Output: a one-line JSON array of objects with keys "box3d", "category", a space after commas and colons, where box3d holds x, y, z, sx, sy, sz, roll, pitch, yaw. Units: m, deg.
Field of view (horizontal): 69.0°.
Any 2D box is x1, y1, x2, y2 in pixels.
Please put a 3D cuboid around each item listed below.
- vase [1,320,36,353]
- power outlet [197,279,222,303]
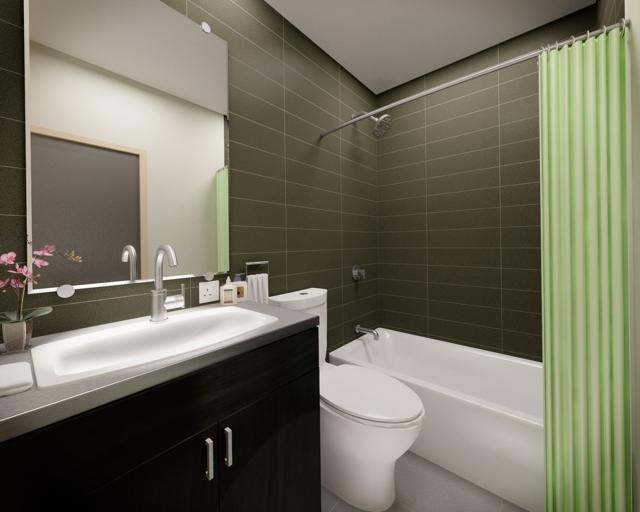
[{"box3d": [-1.180, 0.300, 1.833, 0.108, 0.171, 0.120, -1, -2, 43], "category": "vase"}, {"box3d": [-0.576, 0.185, 2.403, 0.011, 0.116, 0.112, 0, -2, 45], "category": "power outlet"}]
